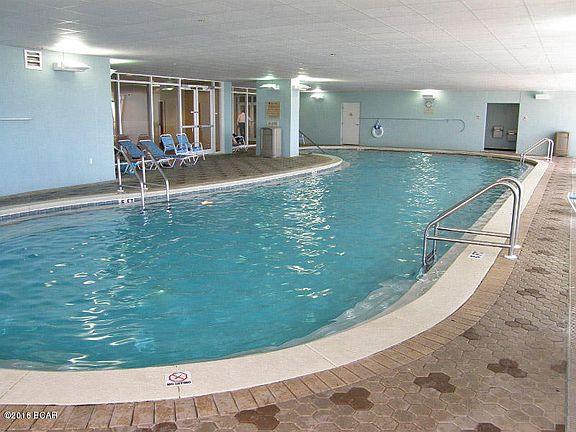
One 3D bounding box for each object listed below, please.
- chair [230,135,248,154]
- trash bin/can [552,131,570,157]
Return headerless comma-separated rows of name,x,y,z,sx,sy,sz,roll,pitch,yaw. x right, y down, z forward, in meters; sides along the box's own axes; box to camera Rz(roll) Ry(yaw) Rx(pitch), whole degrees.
chair,-2.491,-3.821,19.260,0.709,0.863,1.715,-2,13,-4
trash bin/can,12.701,-3.376,17.466,0.622,1.167,0.755,9,19,30
